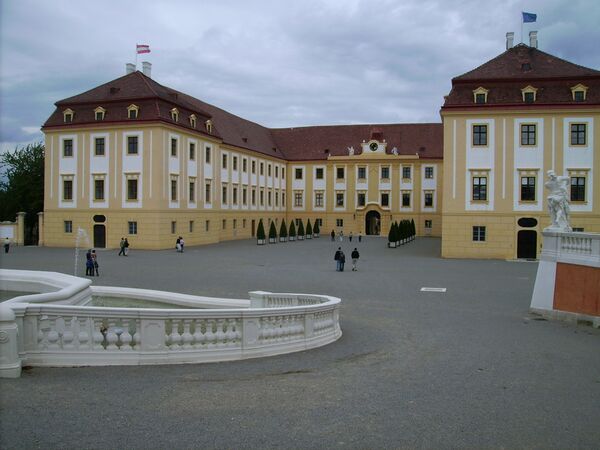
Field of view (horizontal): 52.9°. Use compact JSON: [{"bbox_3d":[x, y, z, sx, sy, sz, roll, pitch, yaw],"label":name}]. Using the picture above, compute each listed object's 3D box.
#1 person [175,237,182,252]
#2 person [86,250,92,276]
[{"bbox_3d":[-9.072,1.423,44.969,0.474,1.067,1.405,0,5,-11],"label":"person"},{"bbox_3d":[-10.456,1.895,29.873,0.306,1.091,0.959,-1,5,-20],"label":"person"}]
